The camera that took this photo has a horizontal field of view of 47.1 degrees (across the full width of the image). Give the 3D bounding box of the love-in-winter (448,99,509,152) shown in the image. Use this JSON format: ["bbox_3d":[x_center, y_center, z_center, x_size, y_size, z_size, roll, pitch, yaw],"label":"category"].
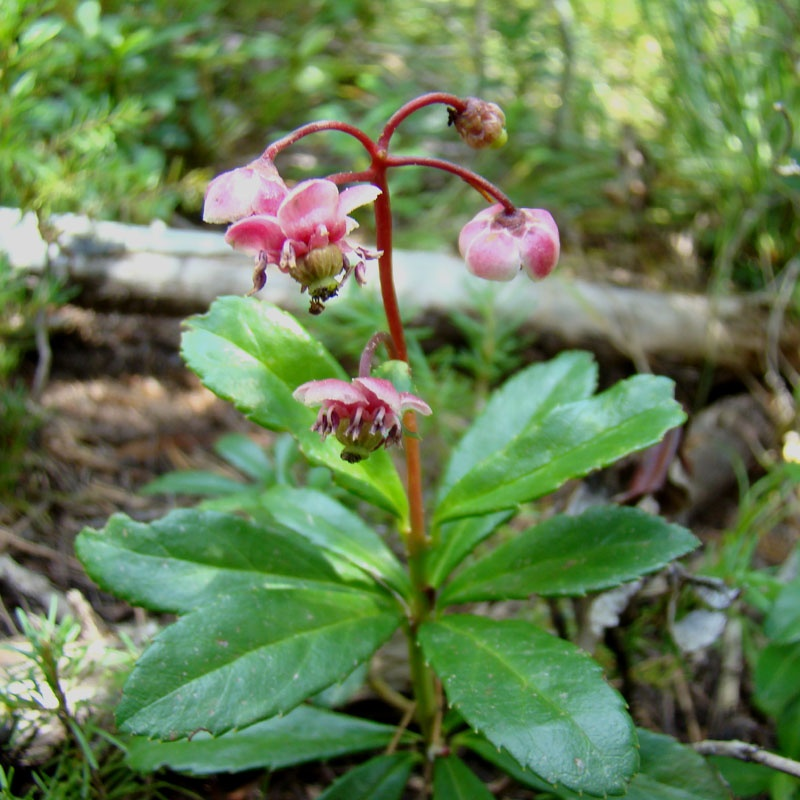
[{"bbox_3d":[0.177,-0.658,2.176,0.129,0.126,0.150,-2,32,4],"label":"love-in-winter"}]

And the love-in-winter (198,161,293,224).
[{"bbox_3d":[-0.344,-0.429,2.028,0.172,0.089,0.165,-29,14,-8],"label":"love-in-winter"}]

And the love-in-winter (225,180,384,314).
[{"bbox_3d":[-0.219,-0.343,2.047,0.402,0.231,0.349,-12,3,-22],"label":"love-in-winter"}]

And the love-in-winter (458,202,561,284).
[{"bbox_3d":[0.269,-0.391,2.213,0.272,0.150,0.223,7,50,14],"label":"love-in-winter"}]

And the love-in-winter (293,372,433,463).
[{"bbox_3d":[-0.100,0.041,2.077,0.318,0.157,0.296,8,-13,-18],"label":"love-in-winter"}]
